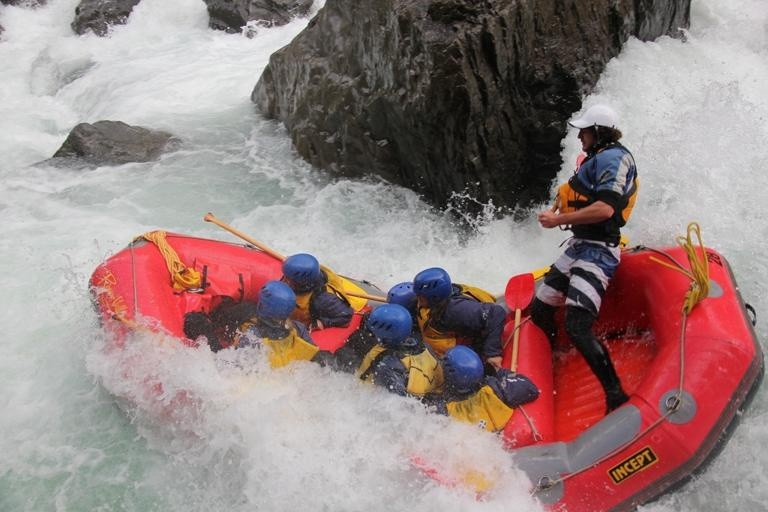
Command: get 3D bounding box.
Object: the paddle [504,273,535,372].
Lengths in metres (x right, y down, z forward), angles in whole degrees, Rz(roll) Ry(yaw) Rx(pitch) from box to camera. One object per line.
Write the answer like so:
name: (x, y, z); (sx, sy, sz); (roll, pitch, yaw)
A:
paddle: (1.768, 0.830, 9.693); (0.315, 0.151, 1.442); (-8, 43, 27)

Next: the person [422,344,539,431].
person: (1.180, 1.669, 8.942); (0.981, 0.529, 1.127); (-40, 67, -14)

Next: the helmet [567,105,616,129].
helmet: (2.574, -1.704, 9.071); (0.465, 0.229, 0.310); (11, 20, 4)

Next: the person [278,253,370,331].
person: (-0.910, 0.539, 9.994); (1.138, 0.592, 0.820); (25, 48, -23)

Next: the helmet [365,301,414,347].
helmet: (0.160, 0.870, 9.263); (0.449, 0.579, 0.407); (-43, 51, 22)

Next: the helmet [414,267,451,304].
helmet: (0.665, 0.353, 9.638); (0.420, 0.484, 0.383); (-8, 9, 19)
